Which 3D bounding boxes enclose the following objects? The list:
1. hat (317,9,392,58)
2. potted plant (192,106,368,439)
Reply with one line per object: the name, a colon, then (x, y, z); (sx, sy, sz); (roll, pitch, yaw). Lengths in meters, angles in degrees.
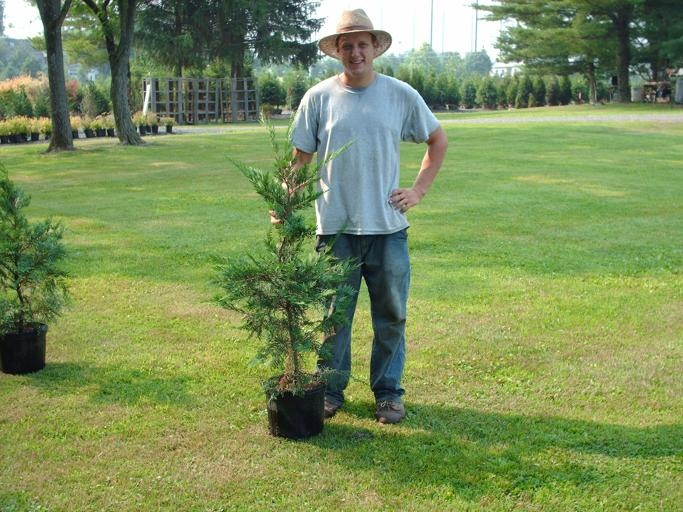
hat: (0.104, -1.717, 6.192); (0.569, 0.321, 0.665); (-2, 8, 0)
potted plant: (-0.430, 0.108, 6.598); (1.059, 2.455, 1.517); (-2, 7, -5)
